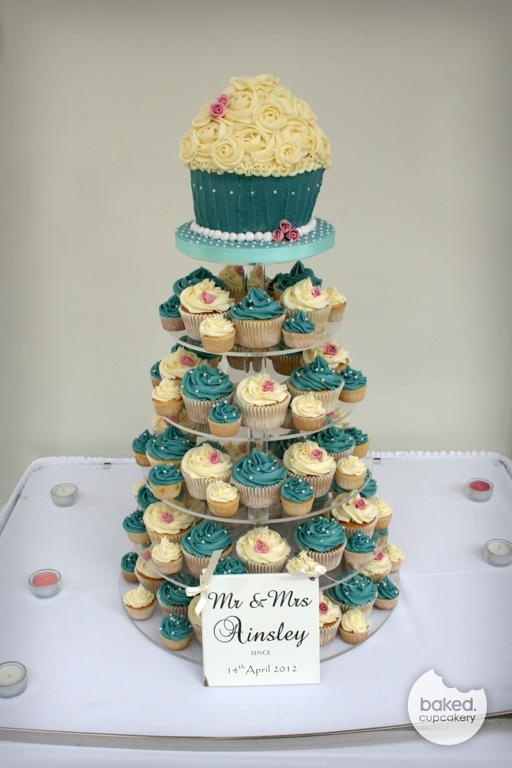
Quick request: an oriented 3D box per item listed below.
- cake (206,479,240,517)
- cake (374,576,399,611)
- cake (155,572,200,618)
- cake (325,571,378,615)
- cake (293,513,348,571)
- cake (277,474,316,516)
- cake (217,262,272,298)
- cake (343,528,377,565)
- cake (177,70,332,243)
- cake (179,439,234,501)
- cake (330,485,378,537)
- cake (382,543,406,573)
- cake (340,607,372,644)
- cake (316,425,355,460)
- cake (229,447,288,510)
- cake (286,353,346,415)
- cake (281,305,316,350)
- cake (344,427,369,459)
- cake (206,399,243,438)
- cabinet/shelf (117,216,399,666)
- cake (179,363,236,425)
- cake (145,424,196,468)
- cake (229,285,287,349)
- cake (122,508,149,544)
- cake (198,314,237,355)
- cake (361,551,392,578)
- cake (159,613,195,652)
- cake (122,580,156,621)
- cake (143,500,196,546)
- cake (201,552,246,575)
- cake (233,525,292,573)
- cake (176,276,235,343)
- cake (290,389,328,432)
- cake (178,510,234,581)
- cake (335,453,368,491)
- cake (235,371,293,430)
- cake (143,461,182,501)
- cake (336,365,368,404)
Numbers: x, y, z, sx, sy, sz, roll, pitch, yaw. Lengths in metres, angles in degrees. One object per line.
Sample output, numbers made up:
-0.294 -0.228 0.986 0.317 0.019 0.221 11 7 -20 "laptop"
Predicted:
-0.152 0.529 3.475 0.181 0.157 0.165 -1 27 -2 "cake"
0.679 1.129 4.023 0.157 0.153 0.153 -2 22 -1 "cake"
-0.406 1.076 3.766 0.218 0.156 0.229 1 17 -2 "cake"
0.497 1.069 3.780 0.235 0.147 0.224 -2 16 0 "cake"
0.294 0.780 3.731 0.280 0.267 0.254 -3 29 2 "cake"
0.187 0.537 3.495 0.156 0.188 0.171 1 22 1 "cake"
-0.071 -0.526 3.726 0.185 0.202 0.202 -2 36 2 "cake"
0.505 0.850 3.918 0.188 0.186 0.183 -1 20 -4 "cake"
-0.001 -0.994 3.231 0.651 0.659 0.415 -1 23 -4 "cake"
-0.211 0.415 3.629 0.280 0.268 0.255 3 30 1 "cake"
0.490 0.661 3.846 0.233 0.218 0.262 -2 32 -2 "cake"
0.787 1.013 4.242 0.167 0.175 0.154 -4 31 7 "cake"
0.479 1.227 3.765 0.187 0.163 0.169 -2 29 1 "cake"
0.398 0.293 3.769 0.181 0.156 0.183 -2 35 0 "cake"
0.013 0.422 3.552 0.286 0.274 0.269 -1 30 -2 "cake"
0.249 -0.022 3.552 0.266 0.270 0.269 0 40 -1 "cake"
0.188 -0.253 3.388 0.174 0.184 0.173 -3 39 1 "cake"
0.550 0.311 4.070 0.169 0.148 0.155 1 31 3 "cake"
-0.145 0.166 3.362 0.135 0.176 0.145 0 22 -2 "cake"
-0.009 -0.158 3.607 0.996 1.197 0.883 -9 33 -3 "cabinet/shelf"
-0.199 0.038 3.545 0.288 0.277 0.262 1 32 0 "cake"
-0.439 0.312 3.713 0.228 0.176 0.205 0 35 -4 "cake"
0.002 -0.287 3.359 0.240 0.288 0.151 0 23 -1 "cake"
-0.652 0.779 4.115 0.193 0.156 0.176 -1 33 4 "cake"
-0.167 -0.222 3.367 0.185 0.169 0.169 0 39 -1 "cake"
0.664 0.982 4.032 0.141 0.099 0.154 0 32 2 "cake"
-0.393 1.241 3.756 0.188 0.155 0.170 1 31 -3 "cake"
-0.598 1.146 3.944 0.193 0.167 0.176 1 23 -1 "cake"
-0.461 0.699 3.835 0.238 0.167 0.240 1 32 -6 "cake"
-0.131 0.834 3.500 0.152 0.097 0.150 -1 24 -4 "cake"
0.044 0.790 3.520 0.227 0.196 0.240 -1 20 -3 "cake"
-0.218 -0.336 3.523 0.280 0.284 0.265 4 39 1 "cake"
0.230 0.139 3.398 0.181 0.189 0.179 -2 34 0 "cake"
-0.236 0.767 3.572 0.278 0.266 0.268 -1 27 -3 "cake"
0.478 0.460 3.877 0.192 0.170 0.173 0 30 3 "cake"
0.032 0.058 3.435 0.253 0.225 0.266 -1 33 0 "cake"
-0.438 0.469 3.599 0.194 0.165 0.177 1 31 -2 "cake"
0.450 0.001 3.595 0.160 0.144 0.144 -5 40 0 "cake"
